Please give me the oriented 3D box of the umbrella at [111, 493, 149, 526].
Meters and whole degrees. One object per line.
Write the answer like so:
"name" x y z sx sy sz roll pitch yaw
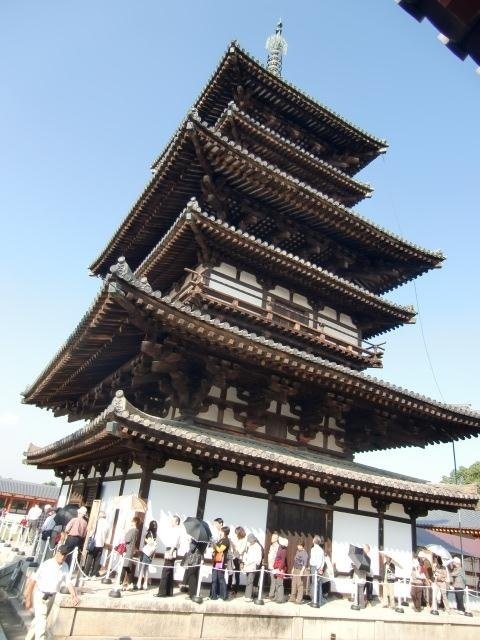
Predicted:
"umbrella" -2.120 3.631 9.943 0.667 0.445 1.526 12 -26 -6

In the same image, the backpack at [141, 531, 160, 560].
"backpack" -1.680 4.198 9.575 0.249 0.407 0.495 13 -27 -6
